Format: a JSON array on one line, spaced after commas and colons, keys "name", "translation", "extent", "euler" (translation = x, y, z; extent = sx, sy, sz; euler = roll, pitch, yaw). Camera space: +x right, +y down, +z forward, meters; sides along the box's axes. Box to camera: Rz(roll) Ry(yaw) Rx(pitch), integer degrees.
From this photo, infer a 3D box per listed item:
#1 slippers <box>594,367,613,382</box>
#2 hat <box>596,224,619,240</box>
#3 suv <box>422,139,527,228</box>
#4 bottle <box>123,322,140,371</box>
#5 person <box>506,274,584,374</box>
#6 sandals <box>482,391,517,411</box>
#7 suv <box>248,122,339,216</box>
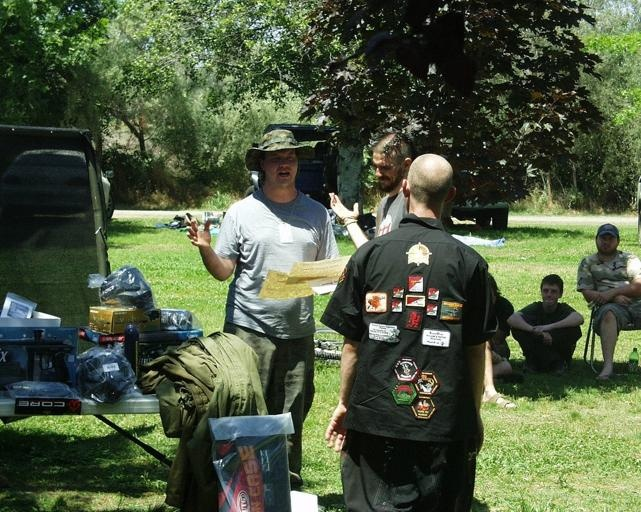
[{"name": "slippers", "translation": [2.877, 1.213, 8.233], "extent": [0.075, 0.091, 0.247], "euler": [-7, -11, 39]}, {"name": "hat", "translation": [3.093, -0.262, 8.738], "extent": [0.179, 0.116, 0.239], "euler": [-1, -9, 16]}, {"name": "suv", "translation": [4.296, -1.523, 22.739], "extent": [2.596, 2.127, 0.719], "euler": [6, -31, -21]}, {"name": "bottle", "translation": [-1.150, 0.591, 4.945], "extent": [0.100, 0.342, 0.102], "euler": [3, 4, 0]}, {"name": "person", "translation": [2.449, 0.707, 8.768], "extent": [0.822, 0.961, 0.763], "euler": [0, 0, 17]}, {"name": "sandals", "translation": [1.631, 1.329, 7.404], "extent": [0.119, 0.072, 0.273], "euler": [-2, -2, -41]}, {"name": "suv", "translation": [-0.263, -2.135, 18.549], "extent": [1.975, 1.479, 3.110], "euler": [-1, 14, -8]}]
